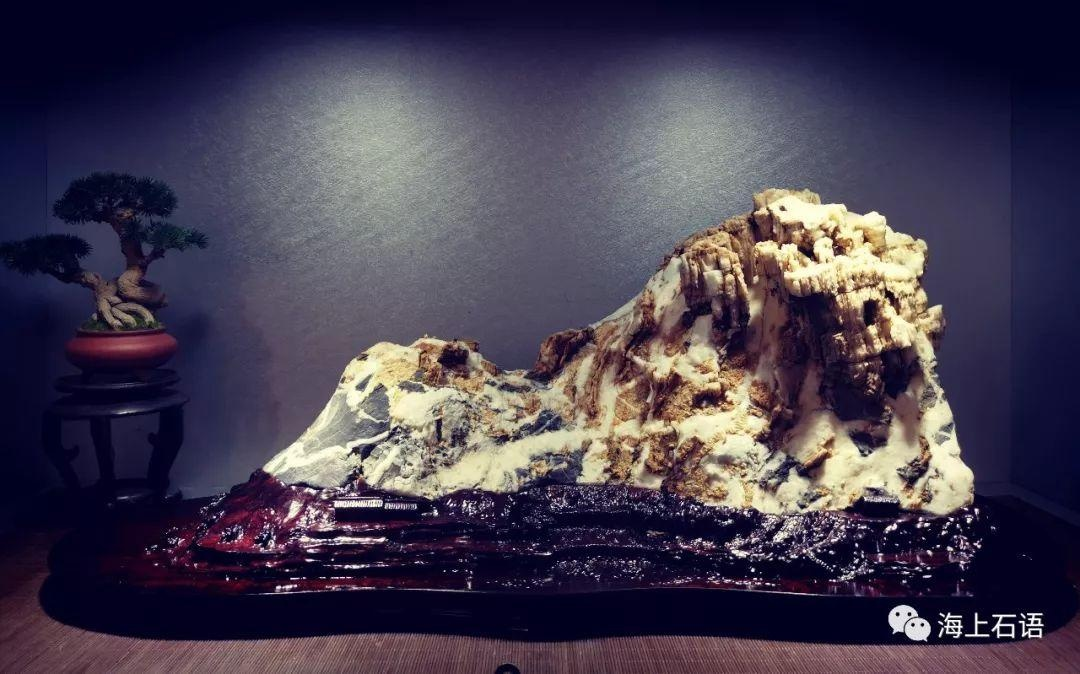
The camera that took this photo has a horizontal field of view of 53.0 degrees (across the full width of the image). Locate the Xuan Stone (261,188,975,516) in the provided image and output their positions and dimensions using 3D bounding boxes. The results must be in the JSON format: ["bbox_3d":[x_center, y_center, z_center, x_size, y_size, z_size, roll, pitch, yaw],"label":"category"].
[{"bbox_3d":[0.728,0.046,6.493,4.317,1.722,1.562,1,1,1],"label":"Xuan Stone"}]
